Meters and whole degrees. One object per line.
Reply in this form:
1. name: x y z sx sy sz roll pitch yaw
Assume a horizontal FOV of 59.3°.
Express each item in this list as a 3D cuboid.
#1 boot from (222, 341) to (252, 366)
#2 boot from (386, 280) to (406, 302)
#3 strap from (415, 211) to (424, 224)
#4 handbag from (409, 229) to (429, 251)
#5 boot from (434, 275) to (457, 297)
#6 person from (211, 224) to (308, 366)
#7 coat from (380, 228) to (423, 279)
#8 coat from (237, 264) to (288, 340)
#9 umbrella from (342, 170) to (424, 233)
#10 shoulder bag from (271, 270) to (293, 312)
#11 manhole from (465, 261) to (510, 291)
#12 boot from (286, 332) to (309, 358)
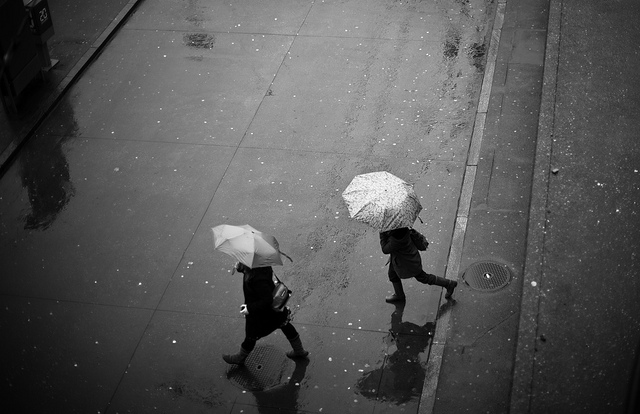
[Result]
1. boot: -1.174 2.088 7.935 0.353 0.339 0.163 27 32 6
2. boot: 1.132 1.261 8.416 0.231 0.294 0.101 19 60 23
3. strap: 1.524 0.157 8.646 0.047 0.147 0.186 -41 98 -3
4. handbag: 1.411 0.477 8.061 0.138 0.355 0.195 -48 33 5
5. boot: 1.869 1.169 8.286 0.454 0.340 0.185 1 48 -15
6. person: -0.787 1.238 7.684 1.291 2.004 1.038 -1 21 -6
7. coat: 1.166 0.528 7.944 0.598 1.011 0.514 3 42 20
8. coat: -0.752 1.226 7.360 0.560 0.553 1.040 0 82 10
9. umbrella: 0.825 -0.079 7.547 1.014 0.407 0.771 25 47 7
10. shoulder bag: -0.589 1.099 7.336 0.230 0.470 0.353 -7 28 23
11. manhole: 2.535 1.027 8.480 0.649 0.253 0.360 0 87 4
12. boot: -0.336 1.964 7.944 0.299 0.332 0.182 19 51 30
